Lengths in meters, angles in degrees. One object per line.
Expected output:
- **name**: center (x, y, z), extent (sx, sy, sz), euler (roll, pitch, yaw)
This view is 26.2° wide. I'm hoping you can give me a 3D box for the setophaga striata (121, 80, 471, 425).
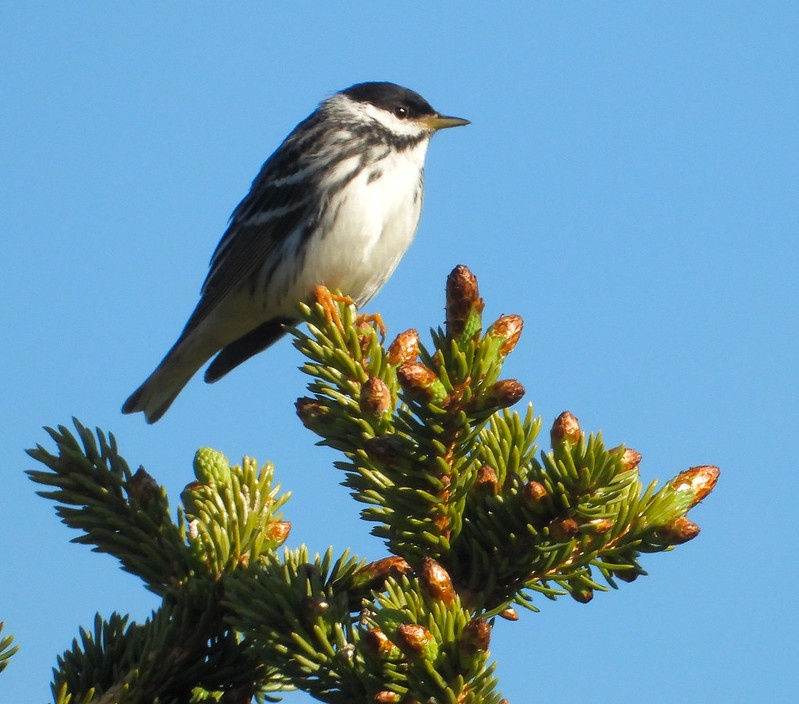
- **setophaga striata**: center (-0.457, -0.496, 7.749), extent (1.570, 1.396, 0.704), euler (-8, -24, 19)
